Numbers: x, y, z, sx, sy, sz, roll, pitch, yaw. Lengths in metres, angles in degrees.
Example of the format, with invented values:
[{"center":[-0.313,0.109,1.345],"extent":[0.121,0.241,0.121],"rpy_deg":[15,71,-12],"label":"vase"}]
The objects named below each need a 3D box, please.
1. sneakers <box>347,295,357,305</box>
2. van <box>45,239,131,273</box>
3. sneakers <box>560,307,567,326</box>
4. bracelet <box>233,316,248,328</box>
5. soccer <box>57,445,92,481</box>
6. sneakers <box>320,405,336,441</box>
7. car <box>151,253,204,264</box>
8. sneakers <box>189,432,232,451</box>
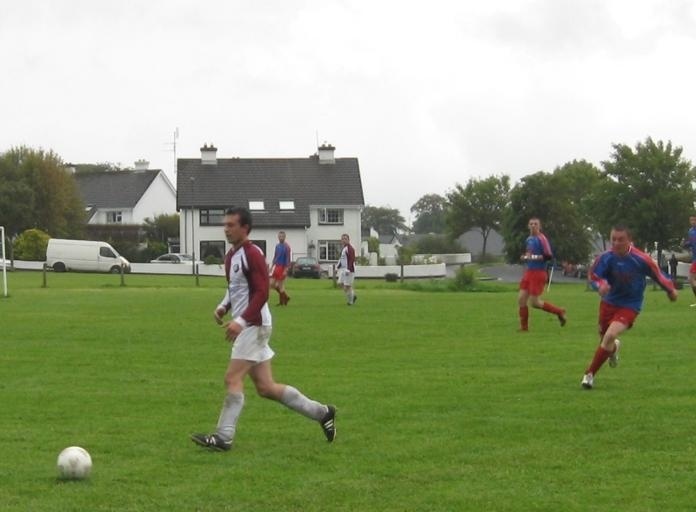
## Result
[{"center":[0.090,1.207,23.834],"extent":[0.077,0.234,0.168],"rpy_deg":[13,-14,33],"label":"sneakers"},{"center":[-13.986,0.026,45.978],"extent":[4.746,2.048,1.961],"rpy_deg":[-1,2,-1],"label":"van"},{"center":[4.649,1.314,18.720],"extent":[0.165,0.383,0.130],"rpy_deg":[-4,1,-18],"label":"sneakers"},{"center":[-1.281,0.775,10.273],"extent":[0.099,0.117,0.127],"rpy_deg":[-6,26,-25],"label":"bracelet"},{"center":[-3.067,2.312,9.735],"extent":[0.340,0.340,0.356],"rpy_deg":[-21,-39,2],"label":"soccer"},{"center":[-0.242,2.041,10.776],"extent":[0.223,0.460,0.166],"rpy_deg":[-5,8,-14],"label":"sneakers"},{"center":[-10.547,0.292,53.016],"extent":[2.746,0.910,1.300],"rpy_deg":[-3,2,10],"label":"car"},{"center":[-1.604,2.181,10.285],"extent":[0.520,0.218,0.189],"rpy_deg":[17,-4,-13],"label":"sneakers"}]
